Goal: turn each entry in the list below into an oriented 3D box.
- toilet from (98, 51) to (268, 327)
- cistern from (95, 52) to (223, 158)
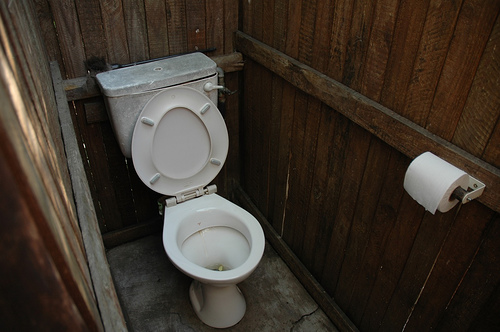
[{"bbox_3d":[-0.394,0.123,1.978,0.631,1.229,1.192,-21,50,-19],"label":"toilet"},{"bbox_3d":[-0.544,-0.299,2.117,0.754,0.544,0.507,-19,44,-20],"label":"cistern"}]
